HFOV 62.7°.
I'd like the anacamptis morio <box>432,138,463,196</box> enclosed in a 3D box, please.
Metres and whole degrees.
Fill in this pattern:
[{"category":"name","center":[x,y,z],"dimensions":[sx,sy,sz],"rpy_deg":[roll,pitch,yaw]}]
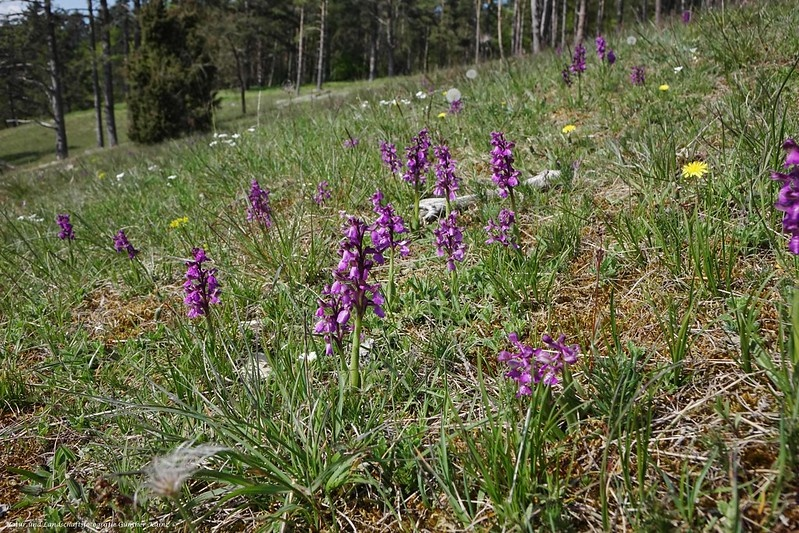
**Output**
[{"category":"anacamptis morio","center":[0.475,-0.935,6.756],"dimensions":[0.223,0.773,0.965],"rpy_deg":[-3,21,4]}]

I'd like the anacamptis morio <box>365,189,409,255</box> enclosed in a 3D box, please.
[{"category":"anacamptis morio","center":[-0.098,-0.414,6.148],"dimensions":[0.248,0.248,0.607],"rpy_deg":[-11,29,0]}]

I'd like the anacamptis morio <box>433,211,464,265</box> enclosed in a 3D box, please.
[{"category":"anacamptis morio","center":[0.474,-0.229,6.138],"dimensions":[0.288,0.597,0.369],"rpy_deg":[-3,19,6]}]

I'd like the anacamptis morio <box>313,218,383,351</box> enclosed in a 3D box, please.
[{"category":"anacamptis morio","center":[-0.412,0.171,5.249],"dimensions":[0.609,1.110,0.422],"rpy_deg":[-6,19,-2]}]

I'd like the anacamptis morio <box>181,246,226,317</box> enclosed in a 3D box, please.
[{"category":"anacamptis morio","center":[-1.765,0.154,5.810],"dimensions":[0.307,0.638,0.441],"rpy_deg":[-11,20,-18]}]

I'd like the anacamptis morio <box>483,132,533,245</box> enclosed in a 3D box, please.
[{"category":"anacamptis morio","center":[1.012,-0.776,6.460],"dimensions":[0.330,1.125,0.933],"rpy_deg":[-2,20,9]}]

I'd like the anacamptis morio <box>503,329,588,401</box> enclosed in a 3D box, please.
[{"category":"anacamptis morio","center":[1.011,0.734,4.927],"dimensions":[0.481,0.418,0.526],"rpy_deg":[8,-19,-8]}]
